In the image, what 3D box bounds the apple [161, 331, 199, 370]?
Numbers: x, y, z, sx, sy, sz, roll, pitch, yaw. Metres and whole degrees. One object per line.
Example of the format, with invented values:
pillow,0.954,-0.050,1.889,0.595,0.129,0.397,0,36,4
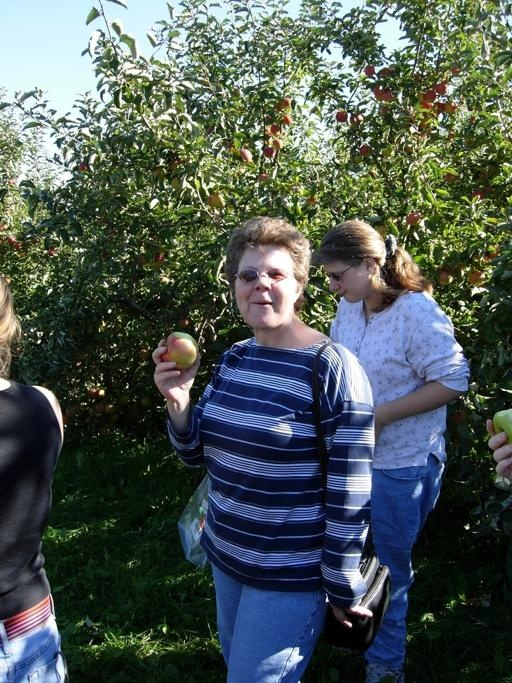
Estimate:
apple,-0.222,0.031,1.809,0.112,0.099,0.105,6,15,2
